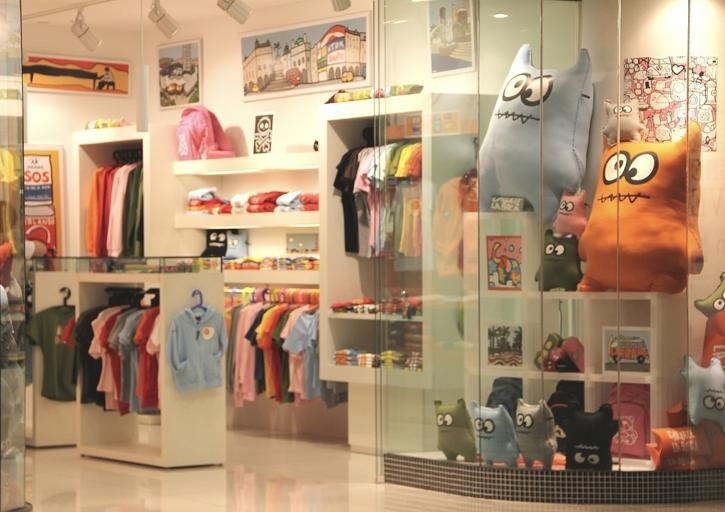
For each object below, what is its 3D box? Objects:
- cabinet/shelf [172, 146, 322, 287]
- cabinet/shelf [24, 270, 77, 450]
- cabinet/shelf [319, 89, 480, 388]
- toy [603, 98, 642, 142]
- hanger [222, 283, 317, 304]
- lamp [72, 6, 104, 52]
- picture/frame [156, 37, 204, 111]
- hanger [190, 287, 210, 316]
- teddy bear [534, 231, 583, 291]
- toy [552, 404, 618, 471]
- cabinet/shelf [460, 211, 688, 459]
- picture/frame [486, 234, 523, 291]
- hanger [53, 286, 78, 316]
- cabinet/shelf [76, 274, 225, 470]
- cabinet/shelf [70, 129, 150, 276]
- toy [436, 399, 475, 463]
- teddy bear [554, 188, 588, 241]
[{"bbox_3d":[-1.075,-0.363,7.242,1.773,1.295,0.455,1,0,28],"label":"cabinet/shelf"},{"bbox_3d":[-2.855,0.939,6.594,0.504,1.590,0.292,0,0,-6],"label":"cabinet/shelf"},{"bbox_3d":[0.056,0.092,5.189,0.418,1.535,0.774,-16,14,-40],"label":"cabinet/shelf"},{"bbox_3d":[1.497,-0.791,4.146,0.220,0.247,0.099,0,-5,0],"label":"toy"},{"bbox_3d":[-0.852,0.384,7.000,1.222,0.179,0.259,1,1,35],"label":"hanger"},{"bbox_3d":[-2.582,-2.131,6.684,0.226,0.372,0.474,0,1,-26],"label":"lamp"},{"bbox_3d":[-2.024,-2.071,8.067,0.877,0.964,0.040,3,4,41],"label":"picture/frame"},{"bbox_3d":[-1.344,0.376,5.926,0.132,0.222,0.043,0,0,-30],"label":"hanger"},{"bbox_3d":[1.174,0.023,4.252,0.282,0.363,0.206,4,3,28],"label":"teddy bear"},{"bbox_3d":[1.295,1.026,4.123,0.334,0.400,0.136,2,7,15],"label":"toy"},{"bbox_3d":[1.293,0.452,4.159,1.299,1.689,0.462,1,0,28],"label":"cabinet/shelf"},{"bbox_3d":[0.847,0.025,4.214,0.291,0.460,0.030,2,3,28],"label":"picture/frame"},{"bbox_3d":[-2.747,0.406,6.617,0.252,0.315,0.025,0,-6,-7],"label":"hanger"},{"bbox_3d":[-1.950,0.796,6.185,1.041,1.129,0.426,1,-3,29],"label":"cabinet/shelf"},{"bbox_3d":[-2.802,-0.702,7.922,1.505,1.384,0.469,1,0,39],"label":"cabinet/shelf"},{"bbox_3d":[0.580,1.052,4.368,0.211,0.416,0.312,5,-13,-38],"label":"toy"},{"bbox_3d":[1.209,-0.254,4.175,0.241,0.261,0.122,7,6,20],"label":"teddy bear"}]
